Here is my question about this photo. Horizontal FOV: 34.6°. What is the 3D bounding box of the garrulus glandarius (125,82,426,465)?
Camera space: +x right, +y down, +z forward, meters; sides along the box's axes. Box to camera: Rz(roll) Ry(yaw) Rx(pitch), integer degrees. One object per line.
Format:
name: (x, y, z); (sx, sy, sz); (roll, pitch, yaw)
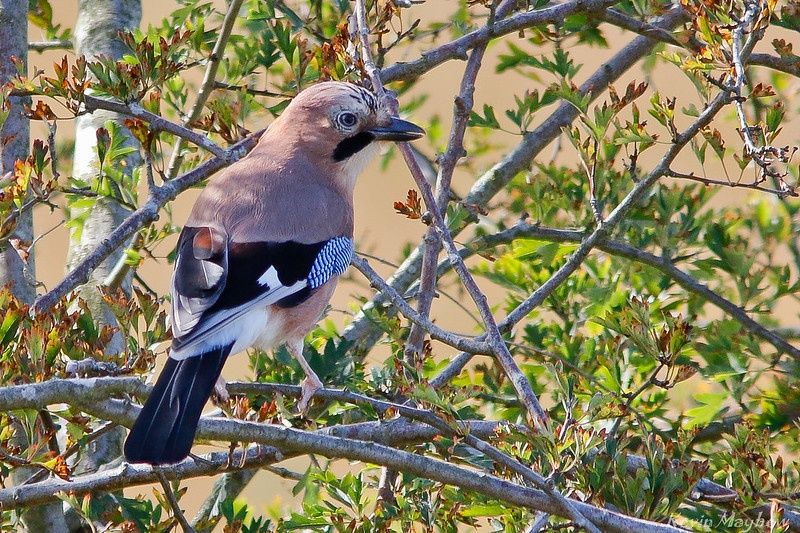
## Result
garrulus glandarius: (-0.646, -0.013, 6.233); (0.837, 2.282, 0.895); (25, -49, -12)
